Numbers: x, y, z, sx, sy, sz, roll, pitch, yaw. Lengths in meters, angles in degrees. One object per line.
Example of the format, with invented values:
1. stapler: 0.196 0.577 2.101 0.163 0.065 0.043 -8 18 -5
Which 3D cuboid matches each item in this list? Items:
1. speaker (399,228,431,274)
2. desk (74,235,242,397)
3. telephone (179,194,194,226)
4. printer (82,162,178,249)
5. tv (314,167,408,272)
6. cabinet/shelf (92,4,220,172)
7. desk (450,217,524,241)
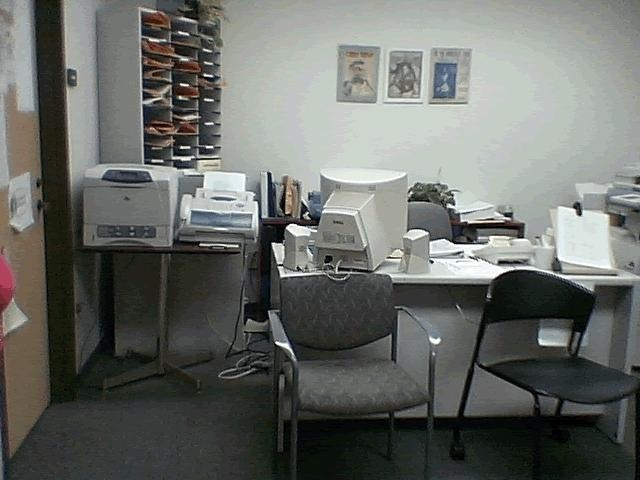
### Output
1. speaker: 0.545 0.064 3.255 0.168 0.226 0.193 0 11 -5
2. desk: -1.077 0.395 4.002 0.985 0.920 0.964 -1 18 -11
3. telephone: -0.888 -0.206 3.766 0.076 0.257 0.092 3 -21 -13
4. printer: -1.228 -0.212 3.772 0.540 0.486 0.524 0 0 -4
5. tv: 0.261 -0.168 3.415 0.707 0.660 0.533 4 17 15
6. cabinet/shelf: -1.245 -1.198 4.680 0.523 1.256 1.296 4 11 14
7. desk: 1.562 -0.092 5.300 0.698 0.204 0.215 -1 11 -12
